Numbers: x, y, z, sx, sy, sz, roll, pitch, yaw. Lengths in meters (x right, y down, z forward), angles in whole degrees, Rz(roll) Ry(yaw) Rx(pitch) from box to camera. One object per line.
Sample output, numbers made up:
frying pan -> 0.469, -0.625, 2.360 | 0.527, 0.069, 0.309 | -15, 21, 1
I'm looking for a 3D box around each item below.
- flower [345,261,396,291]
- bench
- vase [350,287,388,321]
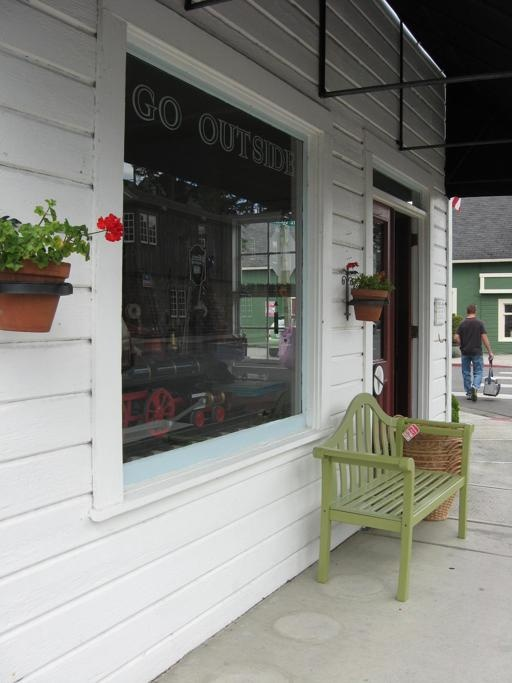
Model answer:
flower -> 0.718, -0.389, 3.247 | 0.266, 0.157, 0.195 | 14, 10, 21
bench -> 0.767, 0.923, 2.955 | 0.374, 0.703, 0.974 | -1, -1, 28
vase -> 0.693, -0.225, 3.210 | 0.199, 0.160, 0.200 | 4, -4, -28
